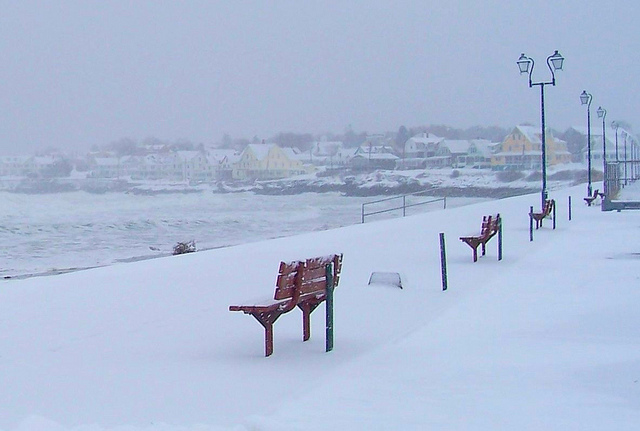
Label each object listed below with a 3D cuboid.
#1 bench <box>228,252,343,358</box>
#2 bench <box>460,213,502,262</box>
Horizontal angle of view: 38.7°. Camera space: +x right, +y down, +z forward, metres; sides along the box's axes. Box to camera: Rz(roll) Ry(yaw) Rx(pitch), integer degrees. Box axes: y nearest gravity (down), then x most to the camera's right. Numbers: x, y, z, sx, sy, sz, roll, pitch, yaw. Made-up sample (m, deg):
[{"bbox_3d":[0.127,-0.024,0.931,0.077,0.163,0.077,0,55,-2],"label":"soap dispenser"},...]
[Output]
[{"bbox_3d":[-0.450,1.562,15.643,1.501,1.607,1.755,-2,1,9],"label":"bench"},{"bbox_3d":[4.164,0.593,23.013,0.925,1.061,1.653,-2,2,21],"label":"bench"}]
